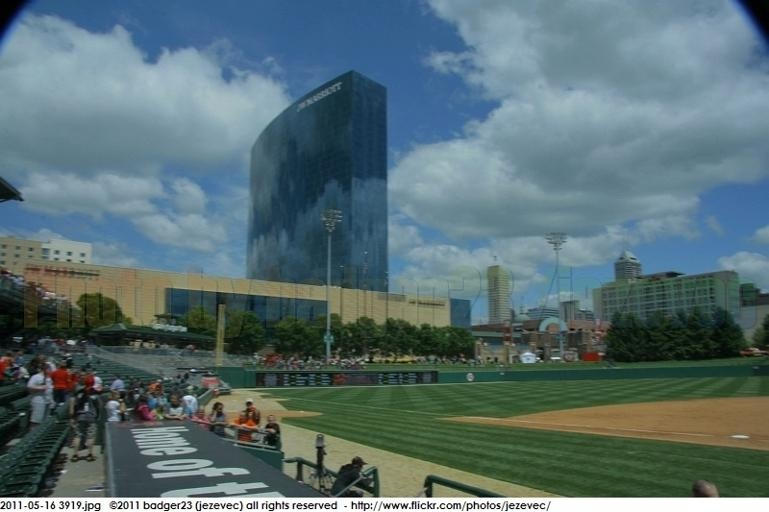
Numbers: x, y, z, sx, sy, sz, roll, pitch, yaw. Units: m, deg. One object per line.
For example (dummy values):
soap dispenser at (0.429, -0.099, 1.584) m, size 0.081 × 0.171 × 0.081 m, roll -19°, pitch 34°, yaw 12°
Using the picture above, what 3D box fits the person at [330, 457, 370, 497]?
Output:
person at (-0.997, 6.701, 18.057) m, size 1.188 × 1.142 × 0.996 m, roll 3°, pitch -12°, yaw -3°

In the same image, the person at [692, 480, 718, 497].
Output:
person at (8.408, 6.042, 15.556) m, size 0.516 × 0.444 × 1.185 m, roll -5°, pitch -12°, yaw 30°
